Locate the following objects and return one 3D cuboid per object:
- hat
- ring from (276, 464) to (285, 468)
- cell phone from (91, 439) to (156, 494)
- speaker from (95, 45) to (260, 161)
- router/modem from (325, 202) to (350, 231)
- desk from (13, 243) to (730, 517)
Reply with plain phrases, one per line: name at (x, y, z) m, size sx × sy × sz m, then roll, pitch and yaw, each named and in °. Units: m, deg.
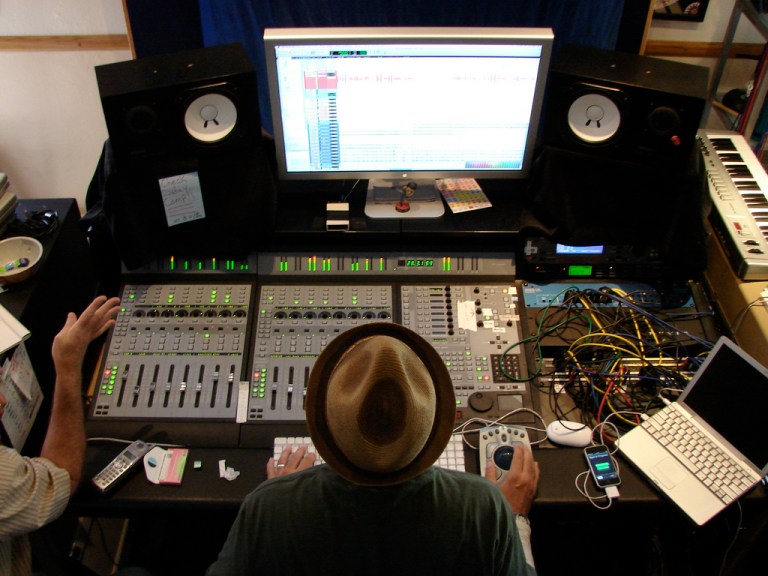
hat at (-0.003, 0.314, 1.716) m, size 0.444 × 0.516 × 0.172 m, roll 9°, pitch -29°, yaw 0°
ring at (-0.403, 0.697, 2.249) m, size 0.018 × 0.005 × 0.013 m, roll -4°, pitch 20°, yaw -22°
cell phone at (-1.028, 0.701, 2.297) m, size 0.085 × 0.294 × 0.105 m, roll 31°, pitch -42°, yaw 11°
speaker at (-0.885, -0.783, 2.507) m, size 0.579 × 0.354 × 0.360 m, roll -15°, pitch -41°, yaw -17°
router/modem at (-0.218, -0.331, 2.689) m, size 0.112 × 0.158 × 0.084 m, roll 0°, pitch -19°, yaw -3°
desk at (-0.445, 0.272, 2.220) m, size 2.127 × 0.919 × 0.493 m, roll 0°, pitch -14°, yaw -3°
